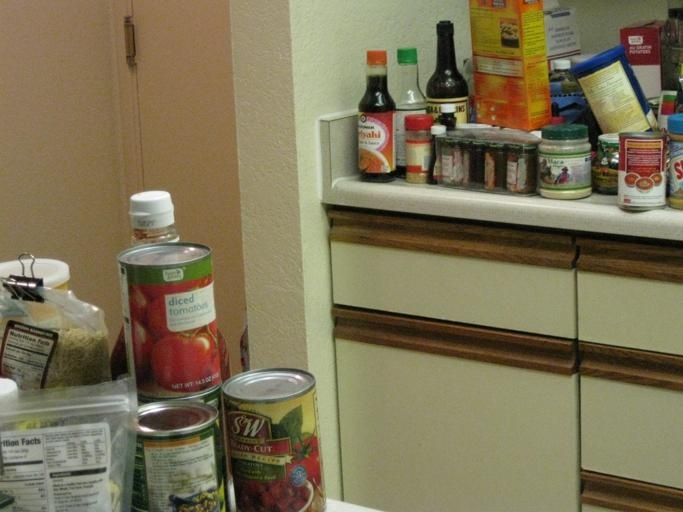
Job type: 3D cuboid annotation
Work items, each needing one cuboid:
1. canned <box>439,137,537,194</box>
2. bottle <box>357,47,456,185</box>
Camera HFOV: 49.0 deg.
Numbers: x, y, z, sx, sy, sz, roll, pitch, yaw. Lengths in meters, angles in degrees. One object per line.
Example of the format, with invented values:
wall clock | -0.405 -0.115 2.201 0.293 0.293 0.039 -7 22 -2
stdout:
canned | 0.301 -0.194 1.567 0.216 0.126 0.048 4 15 38
bottle | 0.126 -0.329 1.698 0.175 0.291 0.196 1 14 31
